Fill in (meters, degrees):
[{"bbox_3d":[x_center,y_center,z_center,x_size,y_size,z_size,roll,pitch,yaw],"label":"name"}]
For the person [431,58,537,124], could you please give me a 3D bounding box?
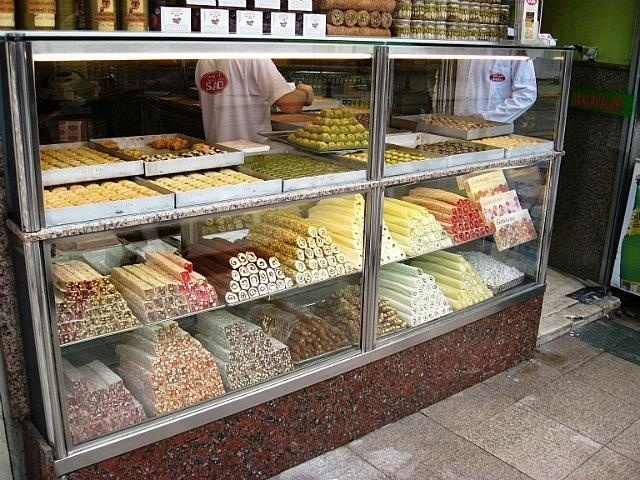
[{"bbox_3d":[1.178,-1.098,3.258,0.806,0.627,0.355,8,30,19],"label":"person"}]
